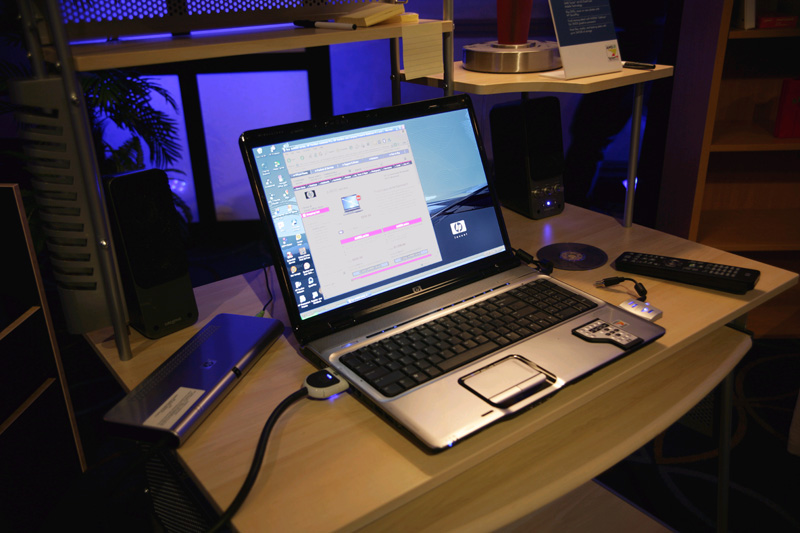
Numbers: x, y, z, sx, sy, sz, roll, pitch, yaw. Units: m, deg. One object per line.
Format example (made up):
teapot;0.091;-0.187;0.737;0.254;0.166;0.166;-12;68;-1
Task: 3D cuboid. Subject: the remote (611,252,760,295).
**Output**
remote;0.710;0.008;1.481;0.313;0.033;0.122;12;28;29
